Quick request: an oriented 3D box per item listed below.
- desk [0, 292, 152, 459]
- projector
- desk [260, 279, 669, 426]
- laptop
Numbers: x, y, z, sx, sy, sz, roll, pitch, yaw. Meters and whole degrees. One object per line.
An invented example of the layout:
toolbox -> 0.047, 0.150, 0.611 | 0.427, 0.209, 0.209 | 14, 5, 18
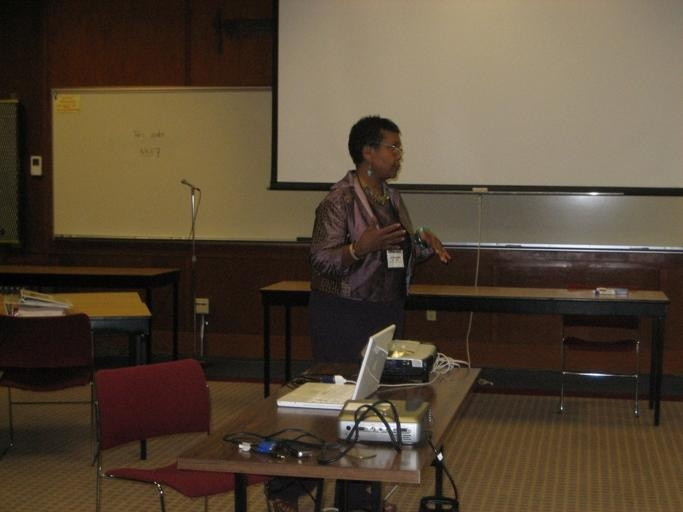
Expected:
desk -> -1.627, 0.909, 4.343 | 1.195, 1.052, 1.021 | 0, -2, 4
projector -> 0.156, 0.557, 2.137 | 0.174, 0.074, 0.180 | 1, 4, 14
desk -> 0.940, 0.820, 5.278 | 3.157, 1.177, 0.909 | 2, 1, 16
laptop -> -0.009, 0.434, 2.543 | 0.366, 0.294, 0.458 | 4, 0, 15
